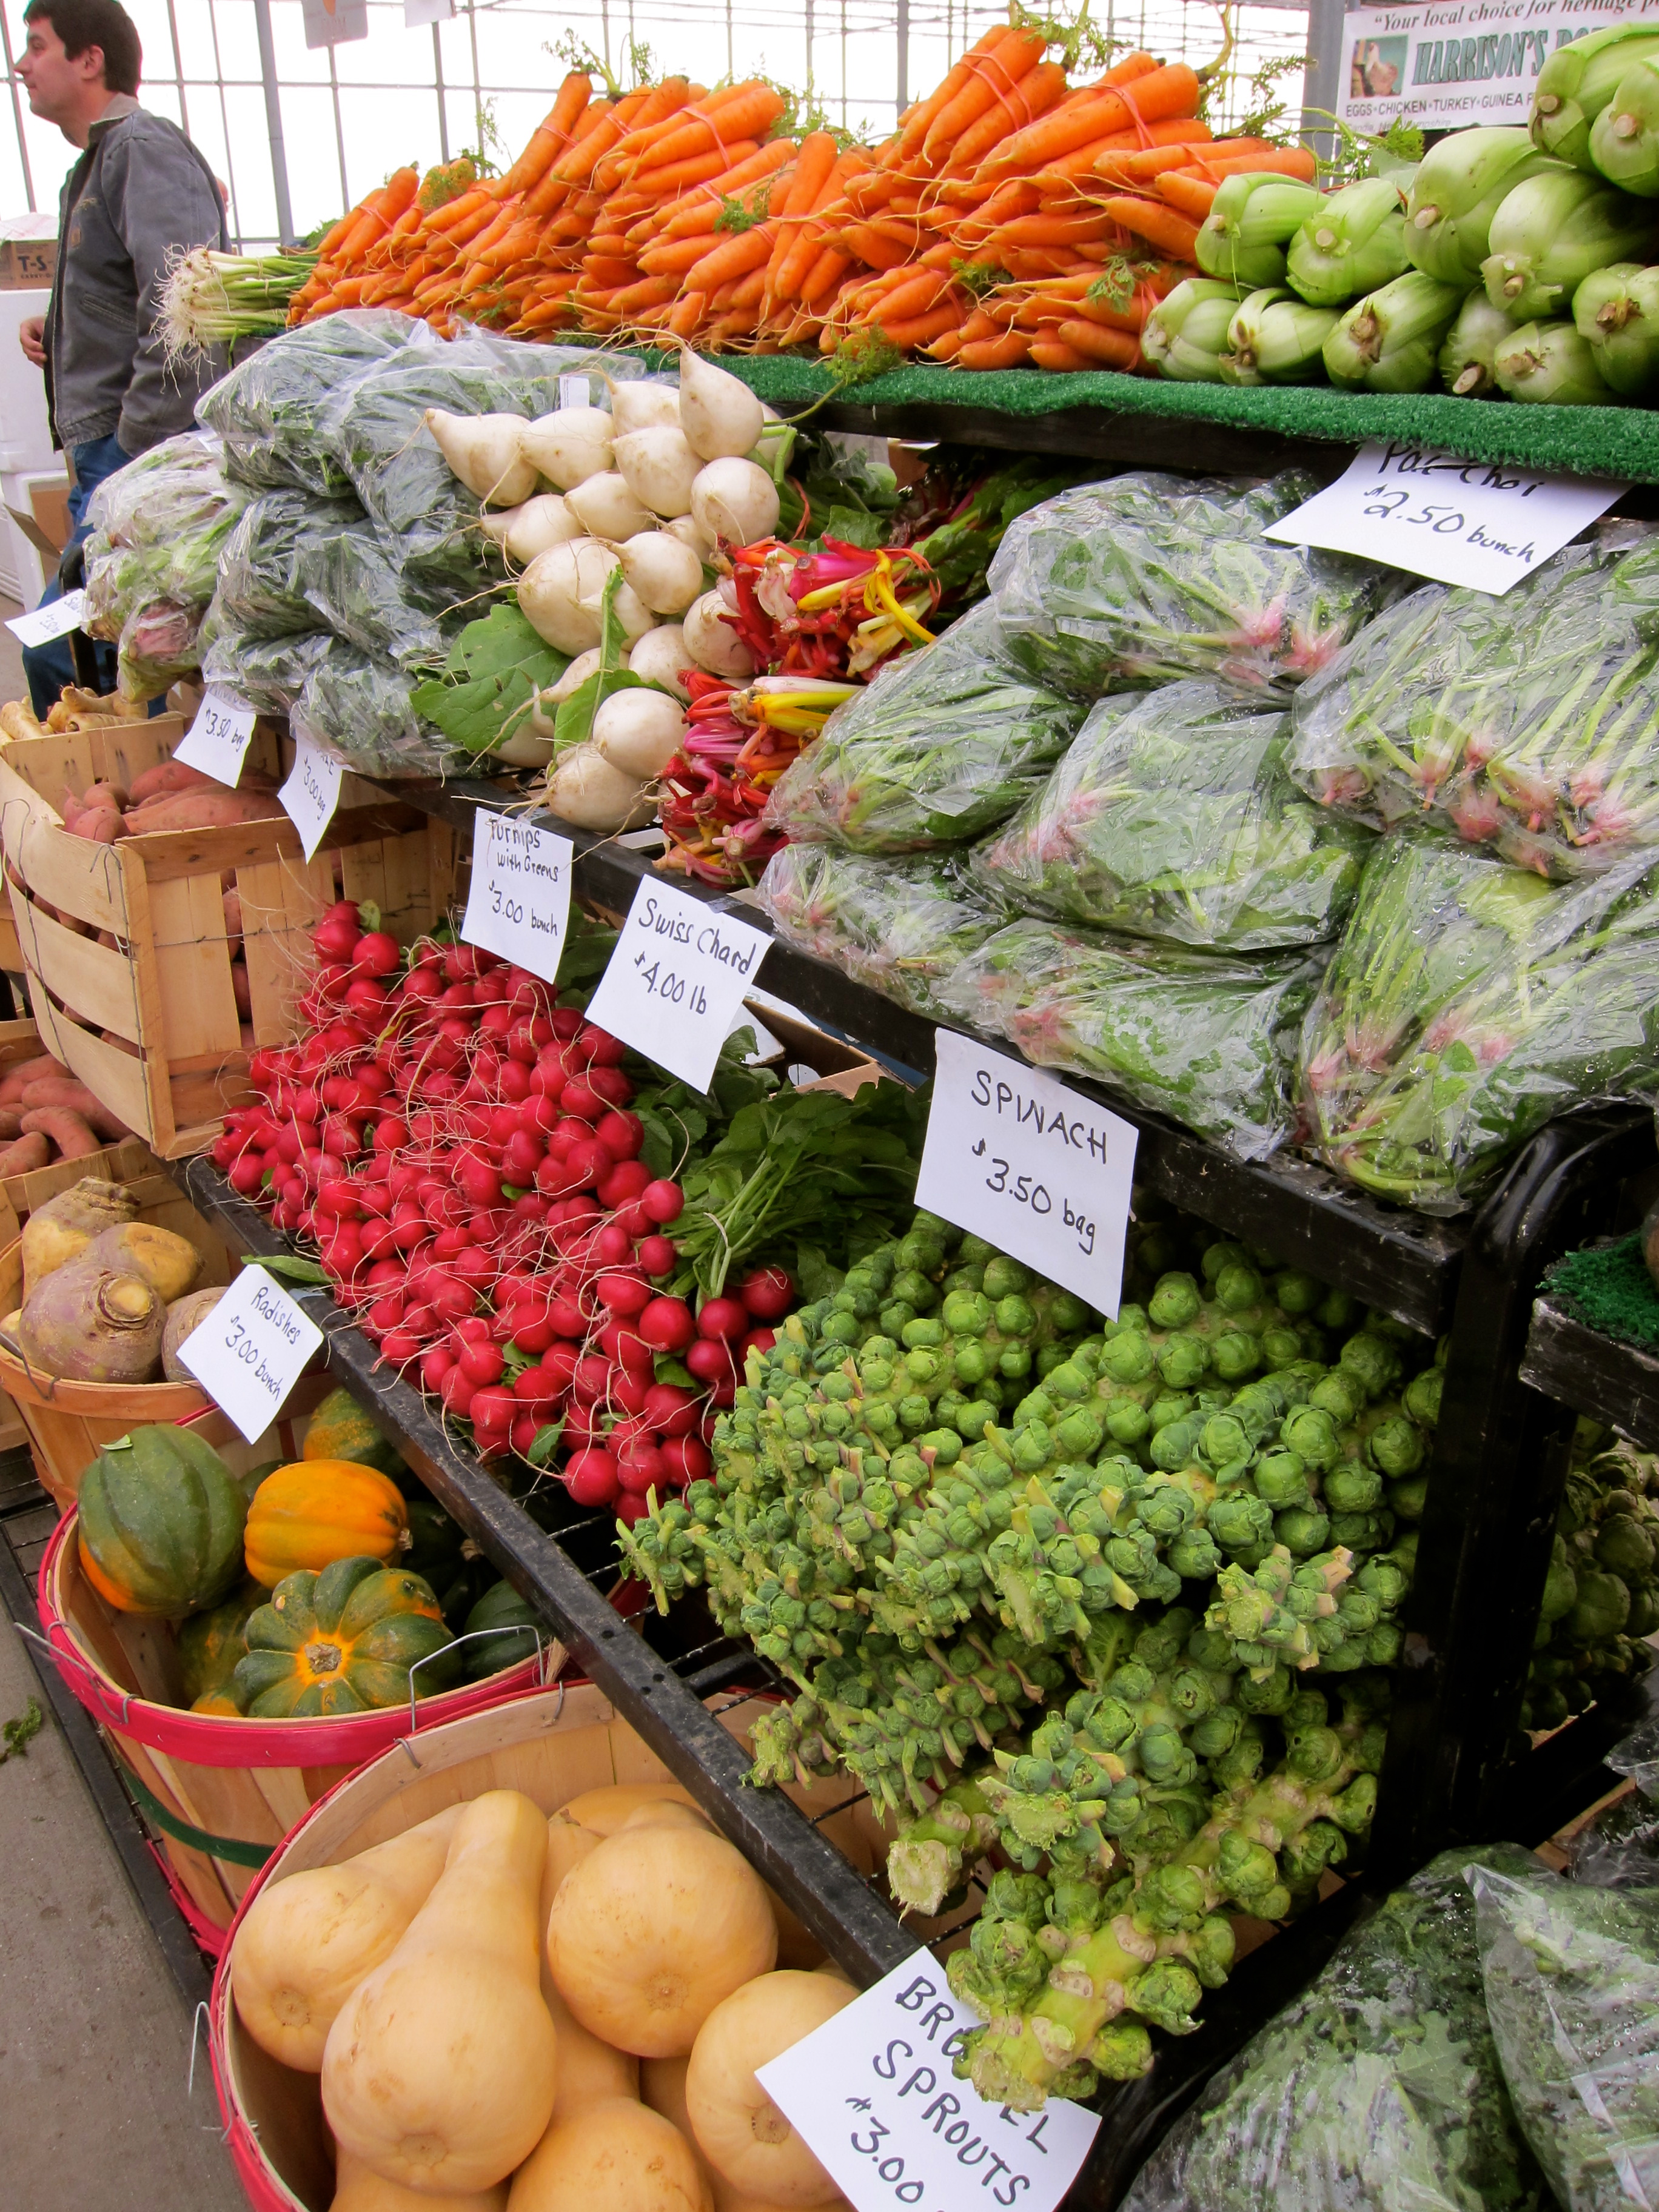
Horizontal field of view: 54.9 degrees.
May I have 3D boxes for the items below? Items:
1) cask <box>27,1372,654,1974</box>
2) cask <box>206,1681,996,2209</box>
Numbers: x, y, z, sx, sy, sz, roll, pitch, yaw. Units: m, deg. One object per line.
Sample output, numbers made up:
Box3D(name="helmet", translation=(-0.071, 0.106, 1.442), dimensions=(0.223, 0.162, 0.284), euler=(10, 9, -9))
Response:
Box3D(name="cask", translation=(-0.517, 0.699, 1.949), dimensions=(0.576, 0.454, 0.589), euler=(-5, 4, 38))
Box3D(name="cask", translation=(-0.269, 0.772, 1.504), dimensions=(0.520, 0.361, 0.471), euler=(-10, 32, -16))
